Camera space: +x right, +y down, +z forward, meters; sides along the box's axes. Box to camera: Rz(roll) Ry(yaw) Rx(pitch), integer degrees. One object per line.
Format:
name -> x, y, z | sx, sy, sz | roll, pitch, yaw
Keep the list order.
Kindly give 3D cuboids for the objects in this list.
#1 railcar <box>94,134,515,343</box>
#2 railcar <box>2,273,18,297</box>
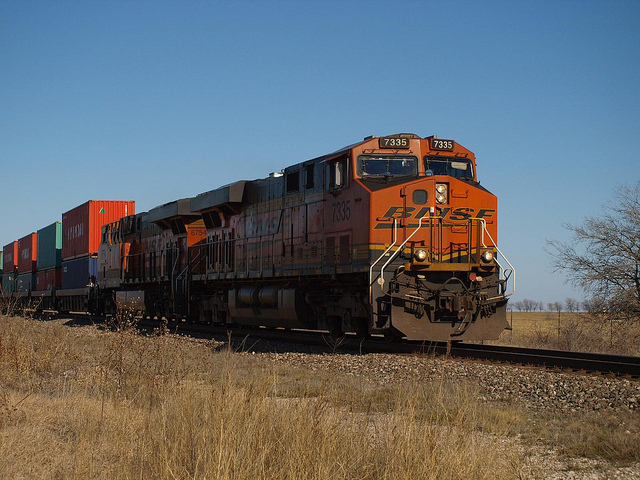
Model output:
railcar -> -2.199, 0.374, 21.864 | 4.704, 5.490, 20.622 | 3, -4, -31
railcar -> -19.350, 2.830, 38.602 | 0.976, 1.975, 1.695 | 5, -6, -29
